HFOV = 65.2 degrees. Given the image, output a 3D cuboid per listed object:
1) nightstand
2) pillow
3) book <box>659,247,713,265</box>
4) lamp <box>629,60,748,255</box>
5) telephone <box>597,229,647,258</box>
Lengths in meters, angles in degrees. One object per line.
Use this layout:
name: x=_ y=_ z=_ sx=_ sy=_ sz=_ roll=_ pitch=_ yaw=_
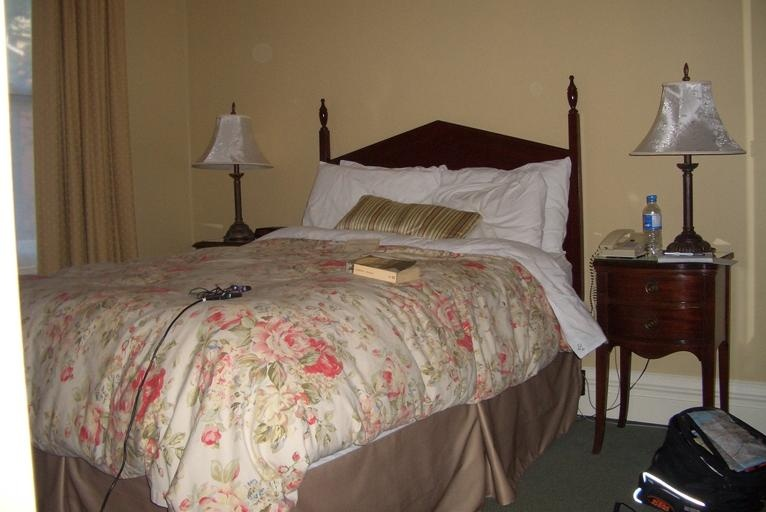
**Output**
nightstand: x=1.540 y=0.509 z=3.342 sx=0.668 sy=1.061 sz=0.722 roll=-5 pitch=6 yaw=-37
pillow: x=0.274 y=-0.363 z=3.823 sx=1.716 sy=0.538 sz=0.388 roll=5 pitch=11 yaw=25
book: x=1.534 y=0.003 z=3.055 sx=0.261 sy=0.051 sz=0.162 roll=5 pitch=11 yaw=23
lamp: x=1.642 y=-0.511 z=3.250 sx=0.595 sy=0.972 sz=0.580 roll=-6 pitch=7 yaw=-30
telephone: x=1.290 y=-0.094 z=3.212 sx=0.158 sy=0.091 sz=0.223 roll=1 pitch=9 yaw=35
